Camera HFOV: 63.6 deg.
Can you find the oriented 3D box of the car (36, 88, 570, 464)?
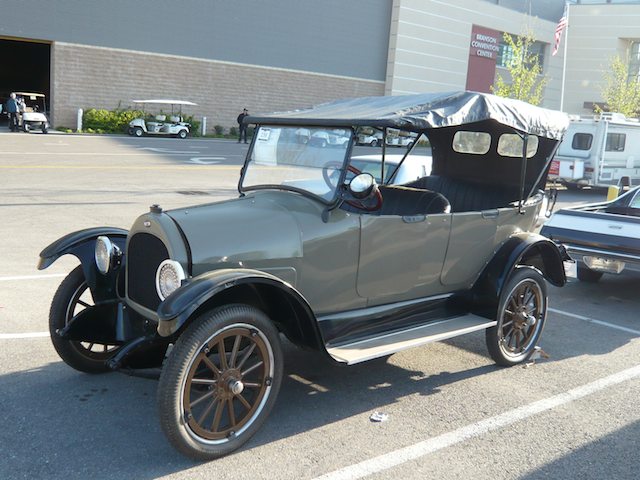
[{"bbox_3d":[0.360,0.094,5.812,5.751,2.850,2.986,-5,8,-33],"label":"car"}]

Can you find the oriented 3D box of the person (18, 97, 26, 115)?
[{"bbox_3d":[-16.893,-7.569,29.182,0.357,0.795,0.786,-3,15,-30],"label":"person"}]
